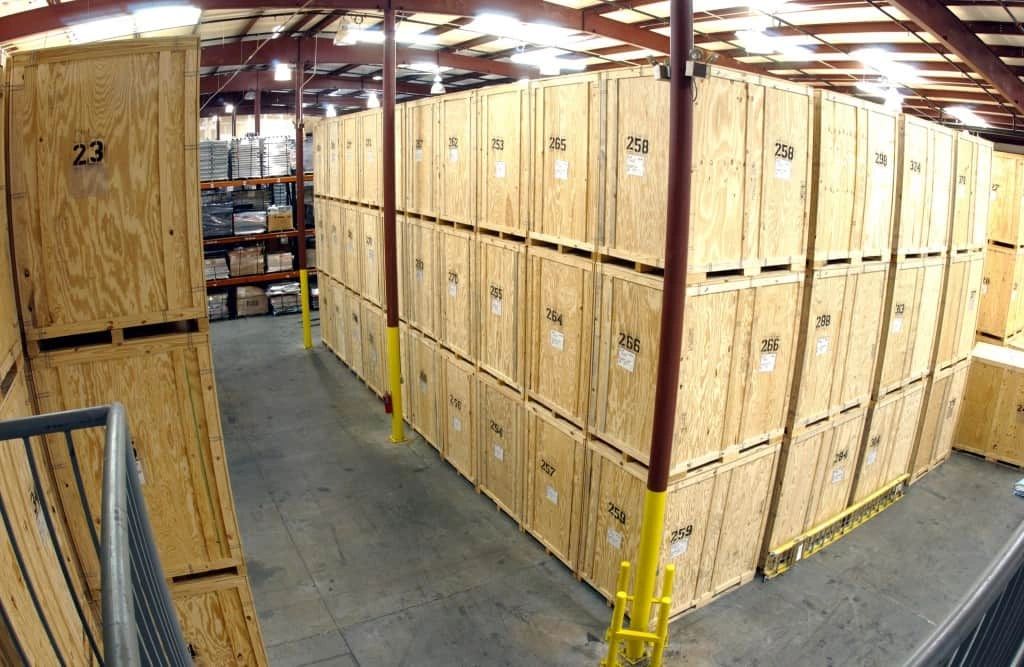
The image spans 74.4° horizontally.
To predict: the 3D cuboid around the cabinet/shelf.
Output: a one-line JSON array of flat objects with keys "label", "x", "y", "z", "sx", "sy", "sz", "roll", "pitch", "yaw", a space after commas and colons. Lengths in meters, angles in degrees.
[{"label": "cabinet/shelf", "x": -6.459, "y": -2.564, "z": 16.913, "sx": 4.029, "sy": 2.935, "sz": 1.316, "roll": -3, "pitch": 2, "yaw": -38}]
